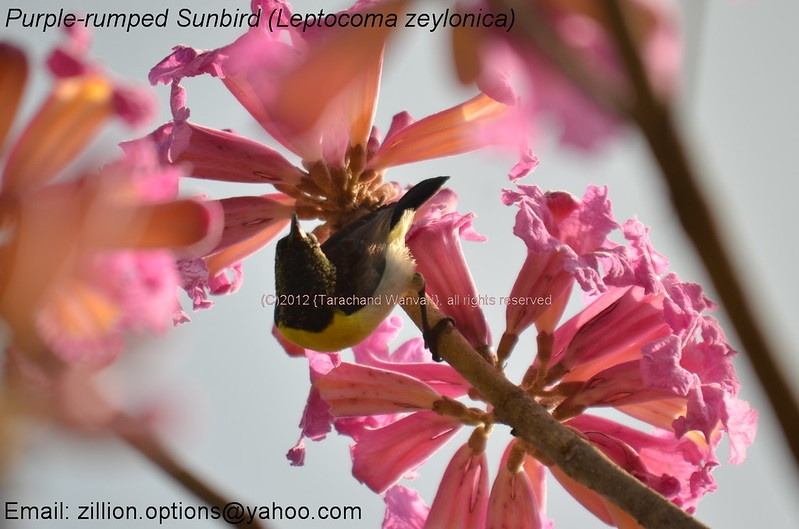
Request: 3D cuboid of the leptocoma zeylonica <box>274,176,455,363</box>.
[{"bbox_3d":[-0.069,-0.016,1.959,0.223,0.263,0.403,37,49,22],"label":"leptocoma zeylonica"}]
